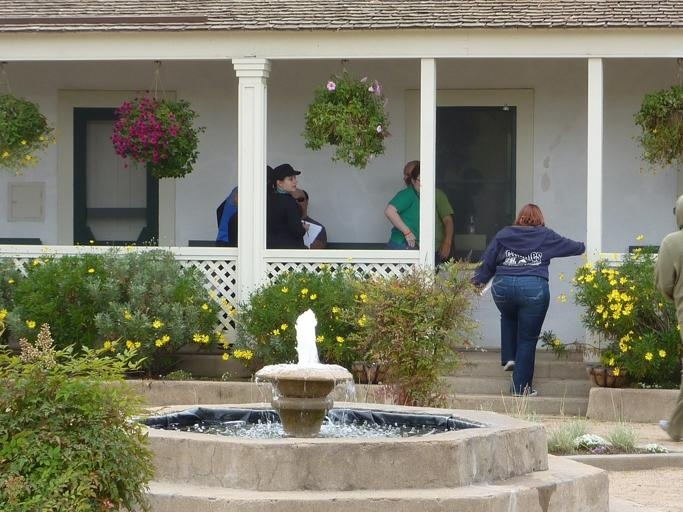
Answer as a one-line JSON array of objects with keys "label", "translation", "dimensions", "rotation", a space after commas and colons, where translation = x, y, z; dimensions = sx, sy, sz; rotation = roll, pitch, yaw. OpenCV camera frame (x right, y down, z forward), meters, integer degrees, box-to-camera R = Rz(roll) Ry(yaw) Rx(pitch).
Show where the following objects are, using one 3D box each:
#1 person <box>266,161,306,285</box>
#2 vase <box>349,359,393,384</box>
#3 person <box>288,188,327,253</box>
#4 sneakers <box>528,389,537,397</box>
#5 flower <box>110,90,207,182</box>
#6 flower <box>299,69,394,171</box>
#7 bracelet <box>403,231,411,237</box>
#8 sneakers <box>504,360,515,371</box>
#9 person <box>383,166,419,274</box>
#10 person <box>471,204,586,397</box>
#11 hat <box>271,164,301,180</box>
[{"label": "person", "translation": [-0.755, -0.646, 16.737], "dimensions": [0.505, 1.105, 0.742], "rotation": [1, 1, -3]}, {"label": "vase", "translation": [0.324, 1.386, 15.224], "dimensions": [0.440, 0.262, 0.200], "rotation": [1, 1, -3]}, {"label": "person", "translation": [-0.498, -0.452, 17.159], "dimensions": [0.614, 0.867, 0.400], "rotation": [-5, -4, 14]}, {"label": "sneakers", "translation": [2.341, 1.694, 15.737], "dimensions": [0.049, 0.080, 0.166], "rotation": [0, -7, 4]}, {"label": "flower", "translation": [-2.428, -1.649, 16.971], "dimensions": [0.965, 0.875, 1.128], "rotation": [3, 16, -5]}, {"label": "flower", "translation": [0.039, -1.716, 16.092], "dimensions": [1.057, 1.183, 0.492], "rotation": [1, 1, -2]}, {"label": "bracelet", "translation": [0.859, -0.291, 16.884], "dimensions": [0.076, 0.053, 0.067], "rotation": [1, 2, -12]}, {"label": "sneakers", "translation": [2.097, 1.399, 16.098], "dimensions": [0.056, 0.085, 0.187], "rotation": [2, -14, -8]}, {"label": "person", "translation": [0.785, -0.671, 16.951], "dimensions": [0.446, 1.164, 0.824], "rotation": [1, 1, 2]}, {"label": "person", "translation": [2.217, 0.538, 15.718], "dimensions": [1.184, 2.328, 0.550], "rotation": [1, 1, 11]}, {"label": "hat", "translation": [-0.794, -1.098, 16.793], "dimensions": [0.262, 0.160, 0.216], "rotation": [-16, 6, 3]}]
